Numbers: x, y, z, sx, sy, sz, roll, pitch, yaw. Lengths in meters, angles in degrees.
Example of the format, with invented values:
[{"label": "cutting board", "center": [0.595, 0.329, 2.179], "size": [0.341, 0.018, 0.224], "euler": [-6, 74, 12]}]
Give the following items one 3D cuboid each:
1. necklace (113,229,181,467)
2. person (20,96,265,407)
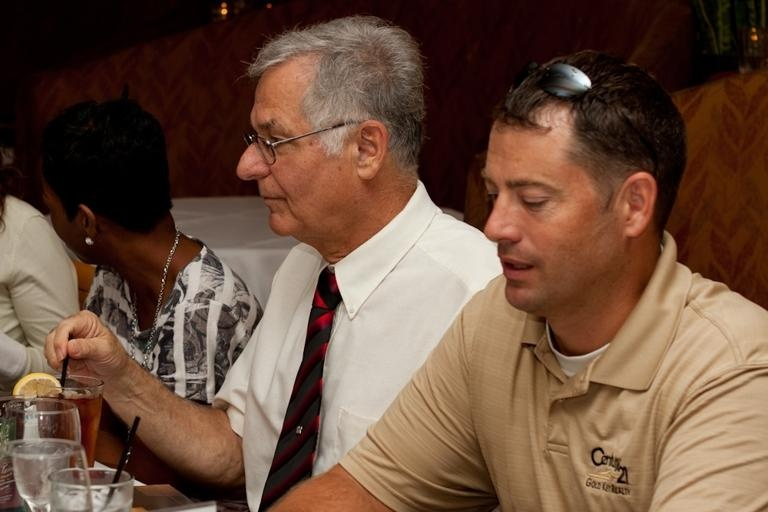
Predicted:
[{"label": "necklace", "center": [-0.678, 0.261, 1.867], "size": [0.049, 0.643, 0.163], "euler": [14, -9, -27]}, {"label": "person", "center": [-0.679, 0.029, 2.458], "size": [0.756, 1.209, 1.142], "euler": [-3, 10, -1]}]
